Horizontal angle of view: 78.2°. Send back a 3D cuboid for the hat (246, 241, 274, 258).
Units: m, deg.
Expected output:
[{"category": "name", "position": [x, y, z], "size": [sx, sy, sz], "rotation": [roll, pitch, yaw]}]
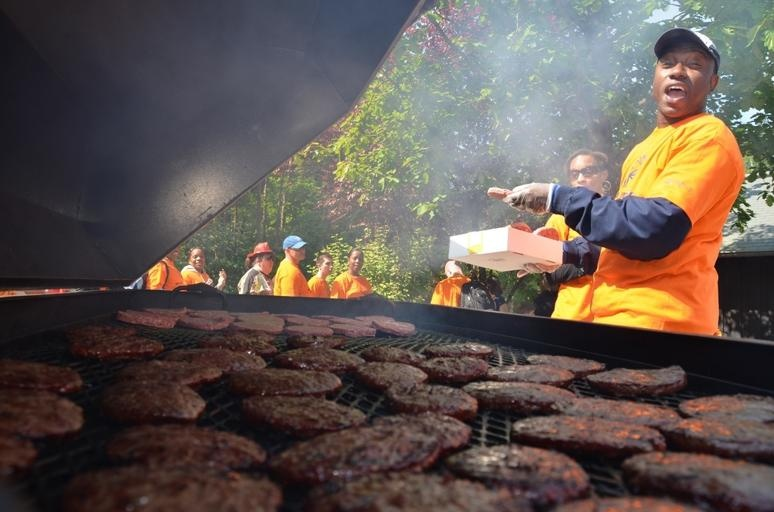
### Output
[{"category": "hat", "position": [-3.237, -0.169, 12.203], "size": [0.596, 0.258, 0.539], "rotation": [-9, 3, -30]}]
